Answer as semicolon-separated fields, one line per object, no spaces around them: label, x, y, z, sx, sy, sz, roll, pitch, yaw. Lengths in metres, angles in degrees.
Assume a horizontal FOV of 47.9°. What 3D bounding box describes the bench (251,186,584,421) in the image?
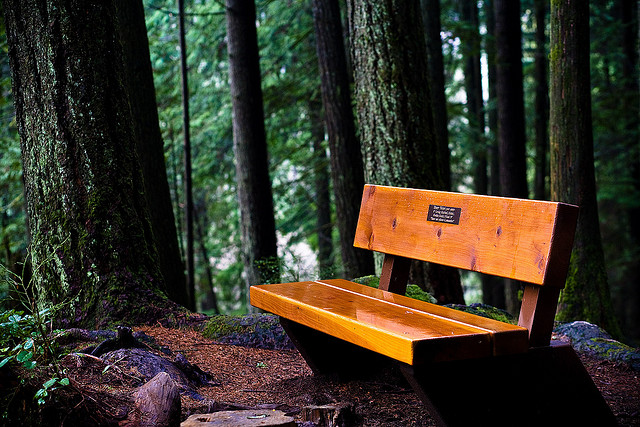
bench;0.980;0.755;7.494;2.571;1.985;2.596;-3;11;-8
